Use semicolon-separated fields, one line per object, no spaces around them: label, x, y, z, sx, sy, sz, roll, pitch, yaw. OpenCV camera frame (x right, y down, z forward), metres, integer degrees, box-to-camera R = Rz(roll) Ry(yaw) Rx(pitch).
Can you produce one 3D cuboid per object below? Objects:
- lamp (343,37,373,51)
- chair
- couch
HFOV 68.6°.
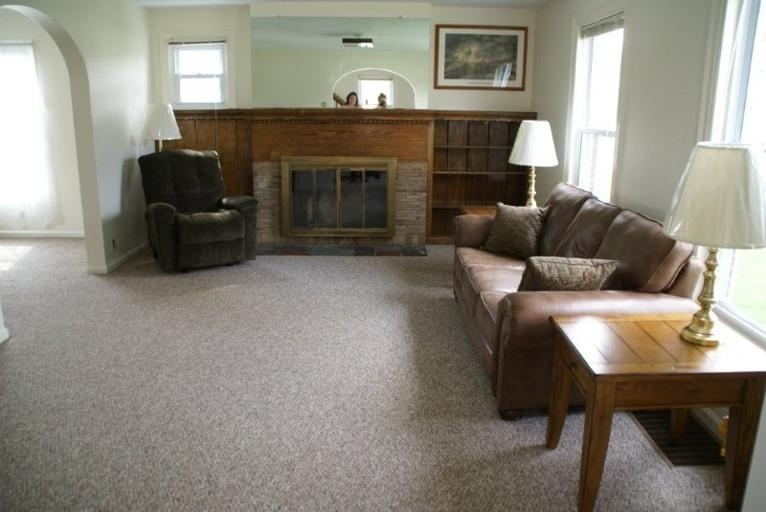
lamp;-0.313;-2.645;6.952;0.389;0.134;0.038;4;17;4
chair;-2.097;-0.544;6.413;1.105;1.220;1.044;-7;19;-29
couch;1.364;0.170;4.621;1.414;1.218;2.420;-4;17;-4
